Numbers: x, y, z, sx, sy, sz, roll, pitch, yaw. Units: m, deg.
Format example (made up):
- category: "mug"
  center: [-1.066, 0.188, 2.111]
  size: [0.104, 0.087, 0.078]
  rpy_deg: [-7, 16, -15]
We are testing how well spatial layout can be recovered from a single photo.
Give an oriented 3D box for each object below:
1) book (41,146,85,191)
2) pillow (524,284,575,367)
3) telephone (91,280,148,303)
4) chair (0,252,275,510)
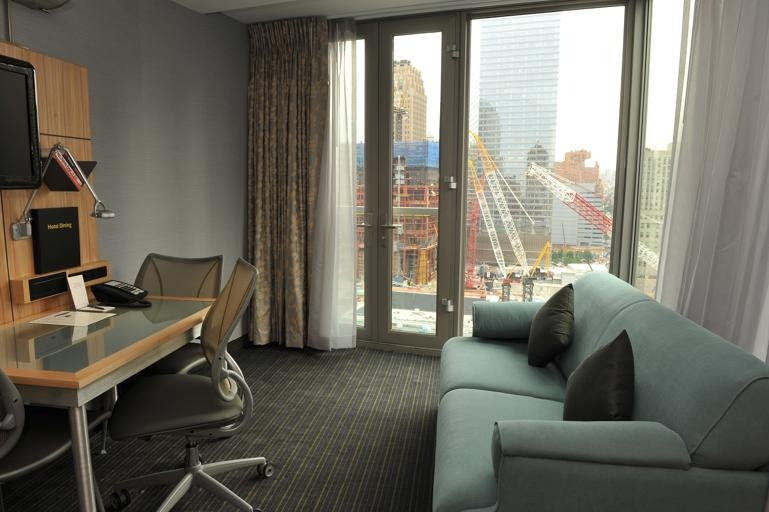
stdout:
- category: "book"
  center: [-2.037, -0.553, 3.419]
  size: [0.231, 0.298, 0.227]
  rpy_deg: [-8, 13, -31]
- category: "pillow"
  center: [1.106, 0.472, 3.671]
  size: [0.228, 0.410, 0.502]
  rpy_deg: [1, -28, -11]
- category: "telephone"
  center: [-1.696, 0.232, 3.487]
  size: [0.231, 0.087, 0.185]
  rpy_deg: [1, 9, 7]
- category: "chair"
  center: [-1.404, 0.764, 3.469]
  size: [1.321, 1.739, 1.694]
  rpy_deg: [2, 7, 4]
